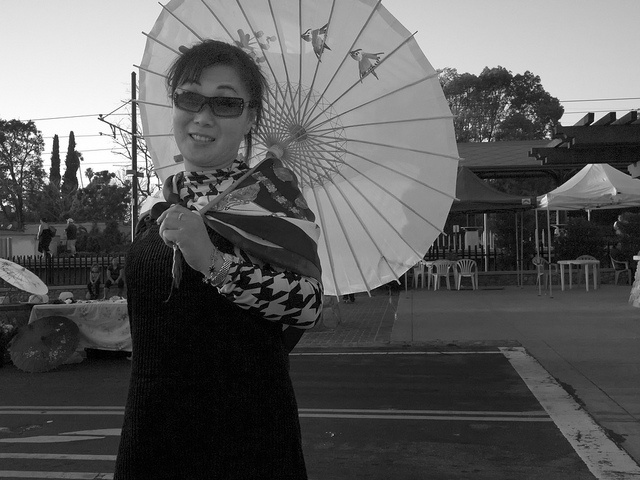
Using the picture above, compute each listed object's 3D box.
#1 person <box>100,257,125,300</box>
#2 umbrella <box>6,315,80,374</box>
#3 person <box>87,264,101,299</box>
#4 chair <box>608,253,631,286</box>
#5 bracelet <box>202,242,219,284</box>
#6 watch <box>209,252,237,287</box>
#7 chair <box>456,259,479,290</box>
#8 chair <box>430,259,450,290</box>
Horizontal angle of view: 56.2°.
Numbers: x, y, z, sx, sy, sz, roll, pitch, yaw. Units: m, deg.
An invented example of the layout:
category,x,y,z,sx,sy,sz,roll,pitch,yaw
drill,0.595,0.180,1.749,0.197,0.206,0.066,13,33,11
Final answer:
category,x,y,z,sx,sy,sz,roll,pitch,yaw
person,-6.344,1.145,18.386,0.640,1.302,1.916,-2,1,-20
umbrella,-3.869,1.453,8.436,0.889,0.834,0.448,-2,1,-24
person,-7.046,1.288,18.693,0.490,1.139,1.079,-2,1,-22
chair,8.938,0.930,17.722,0.649,0.939,0.565,-2,3,19
bracelet,-0.368,0.085,2.053,0.046,0.126,0.032,-2,0,-24
watch,-0.335,0.109,2.048,0.045,0.119,0.070,17,2,-34
chair,4.435,1.034,17.866,0.793,1.119,0.842,0,0,2
chair,3.604,1.031,17.687,0.811,1.073,0.768,0,5,6
